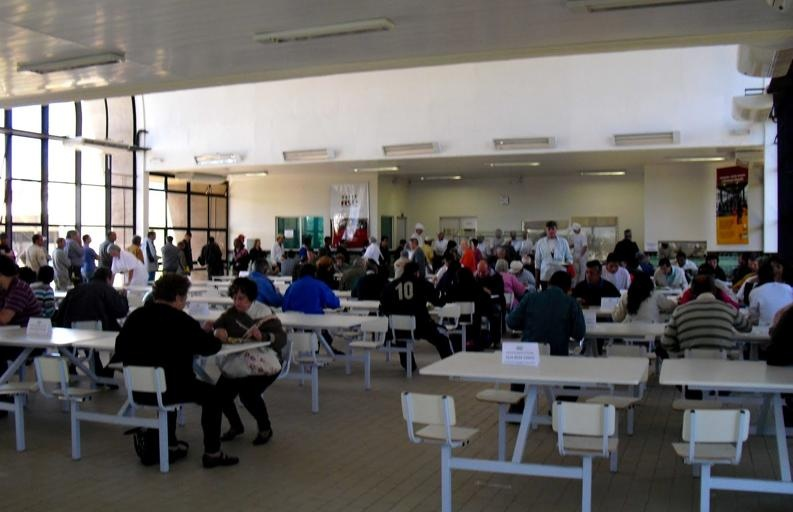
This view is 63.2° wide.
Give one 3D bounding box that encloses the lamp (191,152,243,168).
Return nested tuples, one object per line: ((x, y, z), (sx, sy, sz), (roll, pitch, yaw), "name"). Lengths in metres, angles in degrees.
((-5.082, -2.734, 18.485), (1.626, 0.400, 0.404), (6, 13, 32), "lamp")

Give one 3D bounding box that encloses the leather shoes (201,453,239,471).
((-1.686, 1.941, 6.109), (0.298, 0.125, 0.145), (0, -1, -11), "leather shoes")

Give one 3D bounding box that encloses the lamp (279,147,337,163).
((-2.343, -2.679, 17.403), (1.722, 0.375, 0.152), (5, 13, 26), "lamp")

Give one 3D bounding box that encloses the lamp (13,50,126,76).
((-4.083, -2.457, 8.206), (1.749, 0.172, 0.465), (3, 12, 21), "lamp")

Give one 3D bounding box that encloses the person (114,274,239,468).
((-2.089, 1.103, 6.112), (1.044, 1.778, 0.567), (-3, 12, -12), "person")

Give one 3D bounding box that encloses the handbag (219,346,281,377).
((-1.498, 1.067, 6.483), (0.409, 0.163, 0.315), (-8, -7, 19), "handbag")

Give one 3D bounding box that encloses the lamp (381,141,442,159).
((0.346, -2.661, 16.326), (1.577, 0.368, 0.268), (6, 13, 31), "lamp")

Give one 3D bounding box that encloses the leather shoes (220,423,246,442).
((-1.720, 1.850, 6.738), (0.252, 0.102, 0.129), (-1, -2, -35), "leather shoes")

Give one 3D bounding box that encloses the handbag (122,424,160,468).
((-2.462, 1.860, 6.313), (0.283, 0.338, 0.389), (3, -7, -35), "handbag")

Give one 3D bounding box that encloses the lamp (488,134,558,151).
((3.052, -2.626, 15.283), (1.638, 0.380, 0.315), (3, 8, 19), "lamp")

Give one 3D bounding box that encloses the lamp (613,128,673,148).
((5.548, -2.583, 14.366), (1.353, 0.318, 0.204), (3, 12, 18), "lamp")

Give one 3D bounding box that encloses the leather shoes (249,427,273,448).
((-1.382, 1.880, 6.652), (0.112, 0.078, 0.217), (-1, 1, 33), "leather shoes")
